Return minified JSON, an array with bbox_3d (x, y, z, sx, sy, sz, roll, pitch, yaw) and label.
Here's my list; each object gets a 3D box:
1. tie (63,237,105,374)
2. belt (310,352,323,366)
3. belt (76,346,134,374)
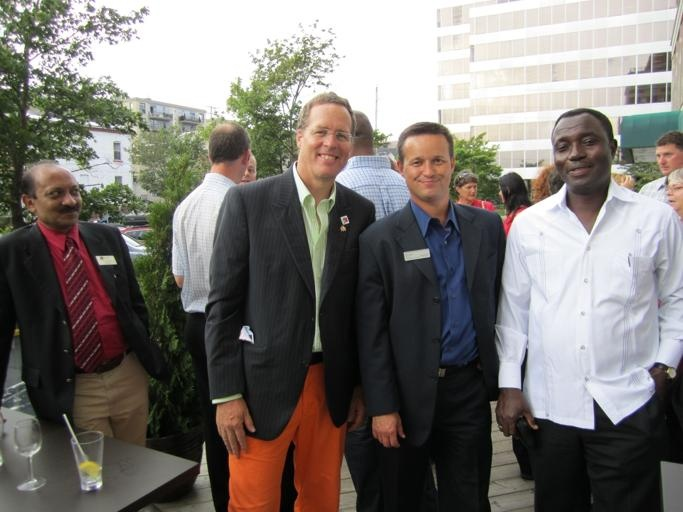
[{"bbox_3d":[-1.553,0.291,3.001,0.202,0.795,0.156,2,7,41],"label":"tie"},{"bbox_3d":[-0.128,0.529,2.605,0.064,0.063,0.017,-5,9,-41],"label":"belt"},{"bbox_3d":[-1.448,0.622,3.039,0.117,0.058,0.142,-26,3,28],"label":"belt"}]
